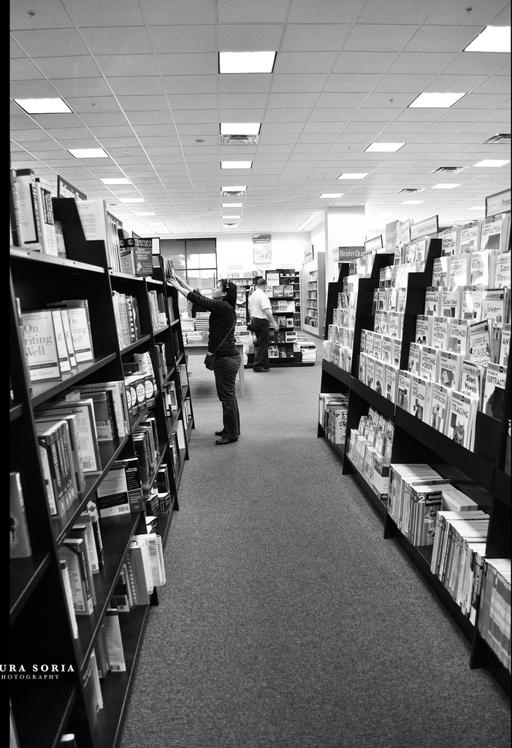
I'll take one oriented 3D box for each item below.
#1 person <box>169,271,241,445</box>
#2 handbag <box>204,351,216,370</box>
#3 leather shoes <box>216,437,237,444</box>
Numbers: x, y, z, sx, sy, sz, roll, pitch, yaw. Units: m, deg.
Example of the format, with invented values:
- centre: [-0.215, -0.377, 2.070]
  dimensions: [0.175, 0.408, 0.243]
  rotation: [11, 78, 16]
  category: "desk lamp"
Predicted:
- centre: [-0.405, -0.178, 4.701]
  dimensions: [0.442, 1.685, 0.453]
  rotation: [-2, 20, -3]
  category: "person"
- centre: [-0.435, -0.106, 4.667]
  dimensions: [0.086, 0.171, 0.149]
  rotation: [10, 37, -4]
  category: "handbag"
- centre: [-0.280, 0.617, 4.728]
  dimensions: [0.191, 0.129, 0.085]
  rotation: [3, 0, -24]
  category: "leather shoes"
